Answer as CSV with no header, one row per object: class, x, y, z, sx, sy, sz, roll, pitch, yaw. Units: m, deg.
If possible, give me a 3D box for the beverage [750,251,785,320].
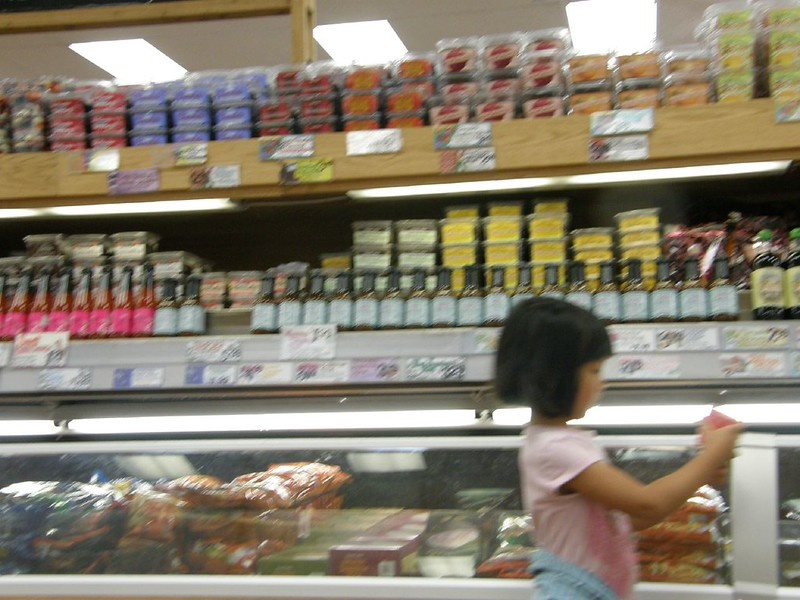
beverage,1.090,-0.042,2.515,0.089,0.202,0.096,-1,1,19
